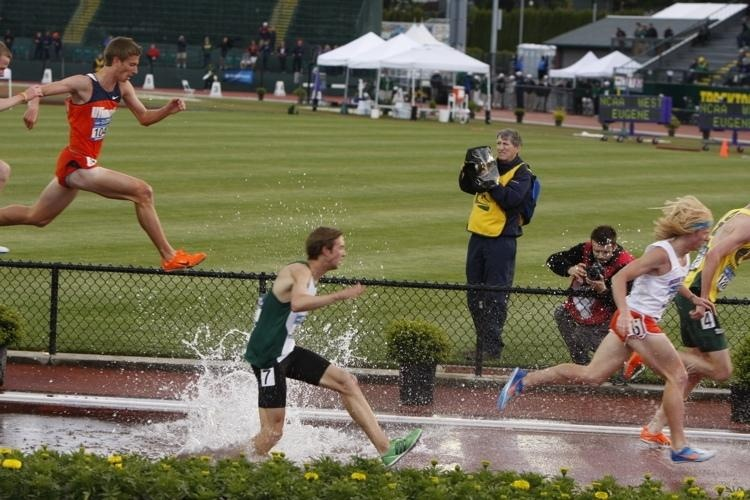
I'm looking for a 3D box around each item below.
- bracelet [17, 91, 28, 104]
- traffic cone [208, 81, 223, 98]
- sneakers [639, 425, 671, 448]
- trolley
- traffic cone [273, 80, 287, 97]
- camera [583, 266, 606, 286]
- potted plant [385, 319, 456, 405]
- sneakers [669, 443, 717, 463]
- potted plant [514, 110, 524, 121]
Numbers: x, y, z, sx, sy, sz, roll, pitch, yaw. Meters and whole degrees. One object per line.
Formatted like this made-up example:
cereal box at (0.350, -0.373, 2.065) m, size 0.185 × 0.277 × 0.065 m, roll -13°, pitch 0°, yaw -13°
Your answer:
bracelet at (-4.899, -2.106, 19.483) m, size 0.137 × 0.176 × 0.083 m, roll 3°, pitch 10°, yaw -10°
traffic cone at (-6.396, -6.354, 55.902) m, size 0.804 × 0.811 × 0.722 m, roll 0°, pitch 11°, yaw -2°
sneakers at (3.797, 2.556, 19.125) m, size 0.498 × 0.204 × 0.178 m, roll 12°, pitch 7°, yaw -4°
trolley at (7.492, -3.846, 41.262) m, size 2.156 × 1.347 × 0.828 m, roll 8°, pitch 7°, yaw 43°
traffic cone at (-3.933, -6.494, 57.210) m, size 0.621 × 0.656 × 0.606 m, roll 0°, pitch 8°, yaw 3°
camera at (3.139, 0.359, 20.114) m, size 0.230 × 0.220 × 0.231 m, roll 0°, pitch 0°, yaw 6°
potted plant at (0.691, 1.621, 20.349) m, size 1.241 × 1.309 × 1.071 m, roll 0°, pitch -4°, yaw 12°
sneakers at (4.202, 2.720, 18.636) m, size 0.593 × 0.225 × 0.209 m, roll -1°, pitch 2°, yaw 3°
potted plant at (4.773, -4.457, 46.857) m, size 0.362 × 0.409 × 0.335 m, roll 1°, pitch 1°, yaw -5°
